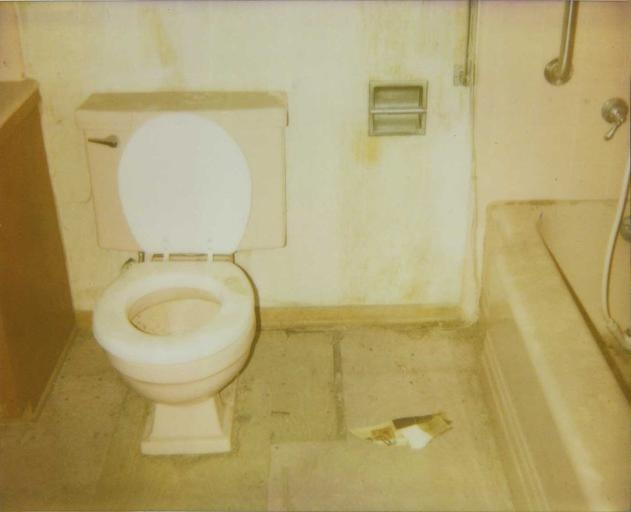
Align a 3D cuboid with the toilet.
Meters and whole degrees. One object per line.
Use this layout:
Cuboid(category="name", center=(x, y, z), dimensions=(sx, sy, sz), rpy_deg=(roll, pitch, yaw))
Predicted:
Cuboid(category="toilet", center=(-0.365, 0.056, 1.765), dimensions=(0.592, 0.864, 0.719), rpy_deg=(-2, 33, 1))
